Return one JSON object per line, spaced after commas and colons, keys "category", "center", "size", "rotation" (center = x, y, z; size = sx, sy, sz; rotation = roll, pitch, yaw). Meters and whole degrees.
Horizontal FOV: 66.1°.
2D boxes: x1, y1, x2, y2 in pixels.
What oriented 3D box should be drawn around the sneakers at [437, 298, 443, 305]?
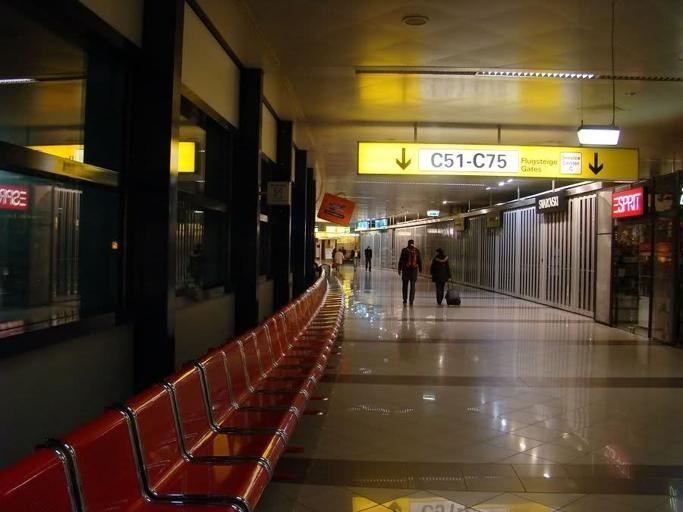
{"category": "sneakers", "center": [2.336, 1.112, 12.544], "size": [0.100, 0.118, 0.105], "rotation": [5, -6, 8]}
